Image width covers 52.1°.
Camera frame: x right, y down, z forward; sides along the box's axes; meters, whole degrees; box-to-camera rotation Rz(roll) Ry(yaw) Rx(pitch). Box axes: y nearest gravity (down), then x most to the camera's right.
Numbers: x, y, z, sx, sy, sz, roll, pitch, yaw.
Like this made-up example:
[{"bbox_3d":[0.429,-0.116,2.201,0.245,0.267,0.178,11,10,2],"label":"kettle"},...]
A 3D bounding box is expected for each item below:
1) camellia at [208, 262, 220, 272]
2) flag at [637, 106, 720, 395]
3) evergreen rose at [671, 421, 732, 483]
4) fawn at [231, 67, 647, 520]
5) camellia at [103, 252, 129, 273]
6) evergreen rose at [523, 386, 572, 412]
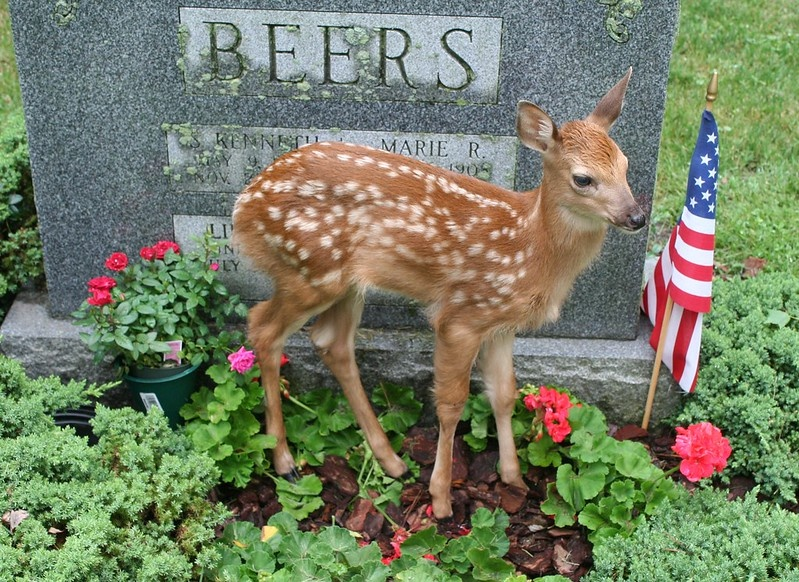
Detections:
[{"bbox_3d":[-1.141,-0.158,5.075,0.042,0.034,0.051,9,-6,-36],"label":"camellia"},{"bbox_3d":[1.733,-0.267,4.846,0.257,1.821,0.395,6,22,14],"label":"flag"},{"bbox_3d":[1.602,0.854,4.362,0.277,0.247,0.229,21,36,20],"label":"evergreen rose"},{"bbox_3d":[0.213,-0.026,4.688,2.409,2.509,0.893,10,18,20],"label":"fawn"},{"bbox_3d":[-1.685,-0.176,4.883,0.132,0.137,0.067,7,-19,7],"label":"camellia"},{"bbox_3d":[0.863,0.630,4.721,0.162,0.090,0.170,6,-9,23],"label":"evergreen rose"}]
